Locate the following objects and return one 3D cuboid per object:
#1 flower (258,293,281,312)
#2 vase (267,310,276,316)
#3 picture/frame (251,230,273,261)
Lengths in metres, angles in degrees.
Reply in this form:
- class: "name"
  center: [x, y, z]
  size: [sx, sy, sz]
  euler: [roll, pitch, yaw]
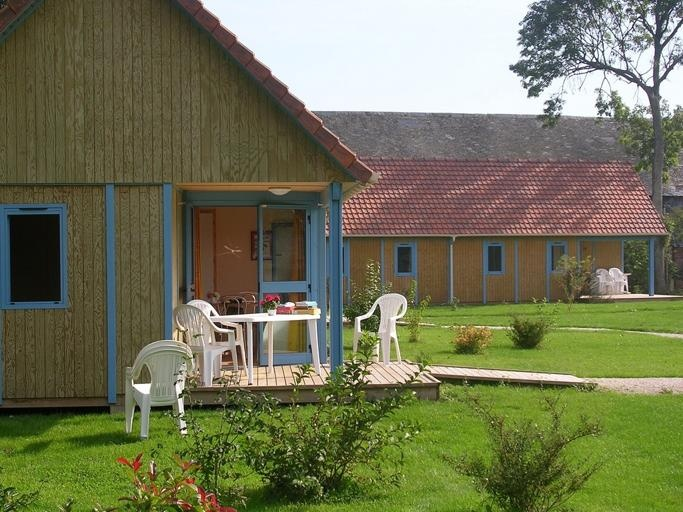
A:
- class: "flower"
  center: [-1.191, 0.754, 15.309]
  size: [0.290, 0.354, 0.307]
  euler: [3, -9, -32]
- class: "vase"
  center: [-1.163, 0.936, 15.133]
  size: [0.135, 0.115, 0.117]
  euler: [0, -6, -17]
- class: "picture/frame"
  center: [-1.433, -0.200, 16.384]
  size: [0.434, 0.659, 0.059]
  euler: [-1, 0, 7]
